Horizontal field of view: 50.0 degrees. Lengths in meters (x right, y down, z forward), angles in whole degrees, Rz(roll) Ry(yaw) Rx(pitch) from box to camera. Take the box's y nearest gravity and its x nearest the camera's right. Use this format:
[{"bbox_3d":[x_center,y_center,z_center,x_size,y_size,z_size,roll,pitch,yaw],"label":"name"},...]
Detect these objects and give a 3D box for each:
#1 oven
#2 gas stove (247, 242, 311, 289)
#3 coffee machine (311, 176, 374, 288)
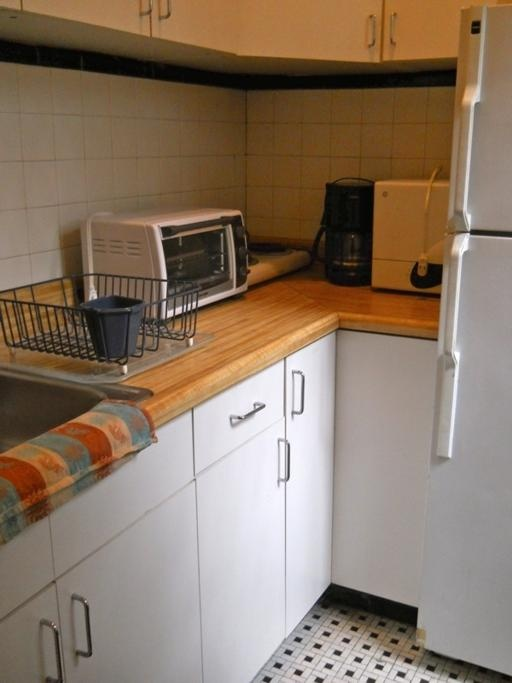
[{"bbox_3d":[-0.260,-0.251,1.598,0.292,0.290,0.441,12,24,34],"label":"oven"},{"bbox_3d":[0.034,-0.279,2.026,0.216,0.099,0.504,5,20,20],"label":"gas stove"},{"bbox_3d":[0.312,-0.368,1.899,0.174,0.336,0.103,1,19,9],"label":"coffee machine"}]
